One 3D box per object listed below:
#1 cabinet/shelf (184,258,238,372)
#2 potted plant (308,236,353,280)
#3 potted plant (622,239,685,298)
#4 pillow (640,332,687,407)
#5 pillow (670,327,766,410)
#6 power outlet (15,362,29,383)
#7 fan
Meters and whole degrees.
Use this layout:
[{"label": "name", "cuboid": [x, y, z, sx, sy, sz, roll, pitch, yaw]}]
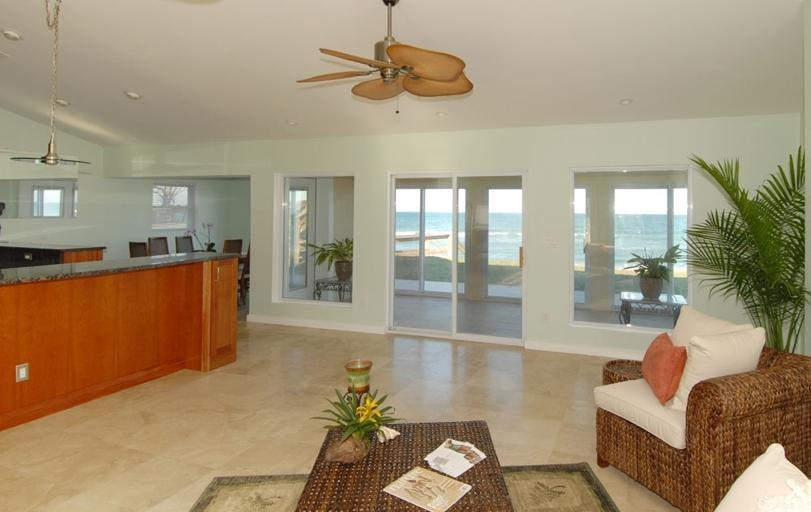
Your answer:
[{"label": "cabinet/shelf", "cuboid": [-2.507, 0.740, 6.907, 0.342, 1.411, 0.743, 7, 16, 21]}, {"label": "potted plant", "cuboid": [-1.254, 0.061, 8.864, 0.739, 0.481, 0.693, -2, -4, 20]}, {"label": "potted plant", "cuboid": [3.518, 0.245, 7.529, 0.725, 0.585, 0.704, 2, -1, -26]}, {"label": "pillow", "cuboid": [2.187, 0.987, 4.437, 0.220, 0.385, 0.590, 5, 2, 15]}, {"label": "pillow", "cuboid": [2.469, 0.917, 4.137, 0.673, 0.450, 0.225, 0, 16, -25]}, {"label": "power outlet", "cuboid": [-3.856, 1.181, 5.263, 0.029, 0.176, 0.129, 8, 16, 25]}, {"label": "fan", "cuboid": [-0.024, -2.036, 4.924, 1.263, 0.980, 1.575, 2, 14, 7]}]
